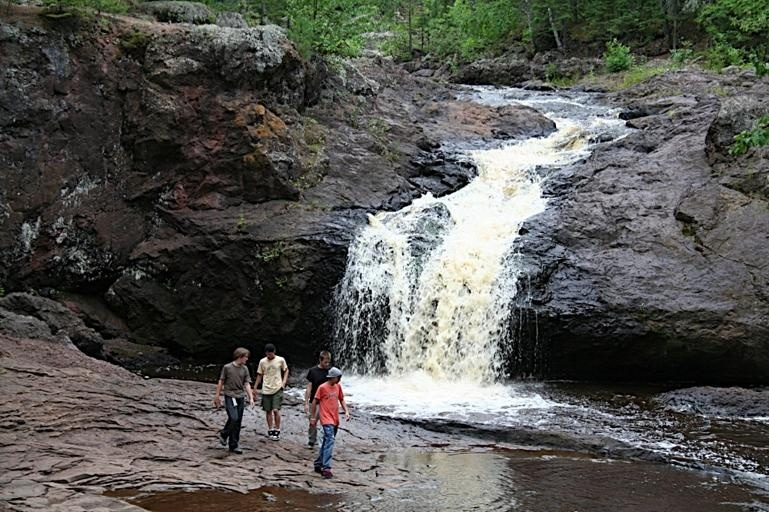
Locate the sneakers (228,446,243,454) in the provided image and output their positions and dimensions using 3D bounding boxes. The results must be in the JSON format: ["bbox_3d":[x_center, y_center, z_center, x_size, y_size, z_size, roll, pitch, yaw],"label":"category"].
[{"bbox_3d":[-3.600,4.681,13.951,0.317,0.126,0.111,-1,-1,8],"label":"sneakers"}]

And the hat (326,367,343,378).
[{"bbox_3d":[-1.195,2.728,13.545,0.326,0.166,0.266,-9,-12,41],"label":"hat"}]

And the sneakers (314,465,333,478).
[{"bbox_3d":[-1.406,5.015,13.468,0.504,0.201,0.173,-2,-29,45],"label":"sneakers"}]

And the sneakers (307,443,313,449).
[{"bbox_3d":[-1.888,4.818,14.719,0.150,0.130,0.111,4,-1,23],"label":"sneakers"}]

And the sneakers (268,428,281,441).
[{"bbox_3d":[-2.859,4.583,14.851,0.217,0.128,0.312,1,-41,-1],"label":"sneakers"}]

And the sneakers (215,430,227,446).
[{"bbox_3d":[-4.057,4.360,14.247,0.273,0.221,0.564,3,31,-24],"label":"sneakers"}]

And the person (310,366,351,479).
[{"bbox_3d":[-1.338,3.825,13.808,0.797,2.464,1.229,4,7,-7],"label":"person"}]

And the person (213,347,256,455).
[{"bbox_3d":[-3.669,3.449,14.090,0.870,2.463,0.829,3,7,-14],"label":"person"}]
